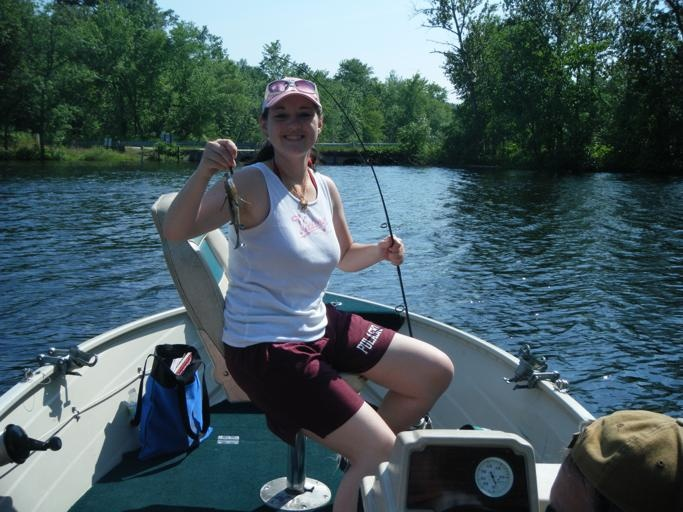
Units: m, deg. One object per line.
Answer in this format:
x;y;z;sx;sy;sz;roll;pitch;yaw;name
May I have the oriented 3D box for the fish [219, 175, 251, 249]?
-0.418;-0.168;2.482;0.079;0.273;0.092;-4;13;-8;fish
